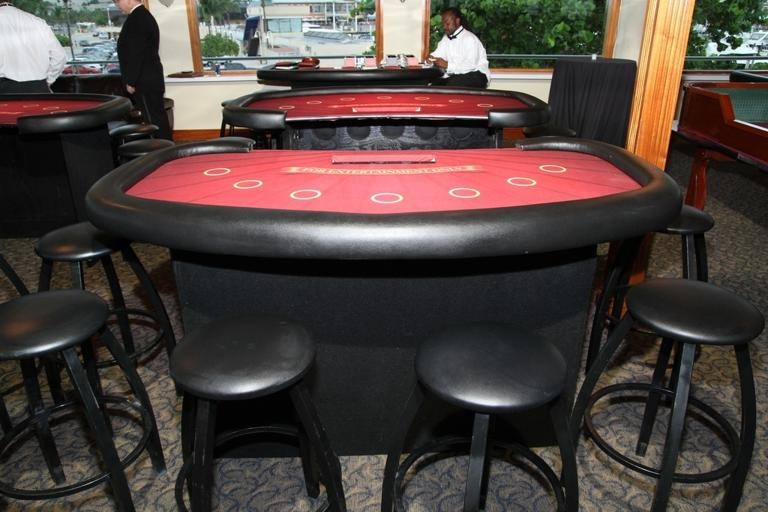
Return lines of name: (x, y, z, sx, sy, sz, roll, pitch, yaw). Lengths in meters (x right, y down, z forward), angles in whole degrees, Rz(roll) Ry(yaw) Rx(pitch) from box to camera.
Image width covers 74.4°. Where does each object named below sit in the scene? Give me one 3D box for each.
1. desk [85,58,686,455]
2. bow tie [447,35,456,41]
desk: (-0.005, -0.066, 2.462, 2.150, 1.069, 1.533, 0, 31, -2)
bow tie: (0.848, -2.719, 6.276, 0.112, 0.031, 0.099, 0, 0, 2)
